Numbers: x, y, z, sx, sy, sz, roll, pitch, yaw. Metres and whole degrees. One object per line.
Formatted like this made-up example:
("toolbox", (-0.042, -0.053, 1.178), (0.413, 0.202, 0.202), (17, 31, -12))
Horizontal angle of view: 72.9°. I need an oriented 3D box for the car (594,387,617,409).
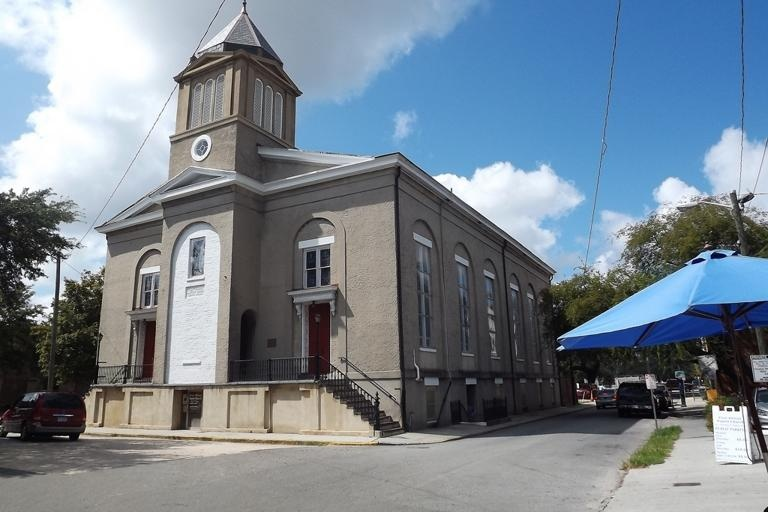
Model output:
("car", (18.741, 11.830, 43.370), (1.971, 1.468, 4.595), (-7, -18, 22))
